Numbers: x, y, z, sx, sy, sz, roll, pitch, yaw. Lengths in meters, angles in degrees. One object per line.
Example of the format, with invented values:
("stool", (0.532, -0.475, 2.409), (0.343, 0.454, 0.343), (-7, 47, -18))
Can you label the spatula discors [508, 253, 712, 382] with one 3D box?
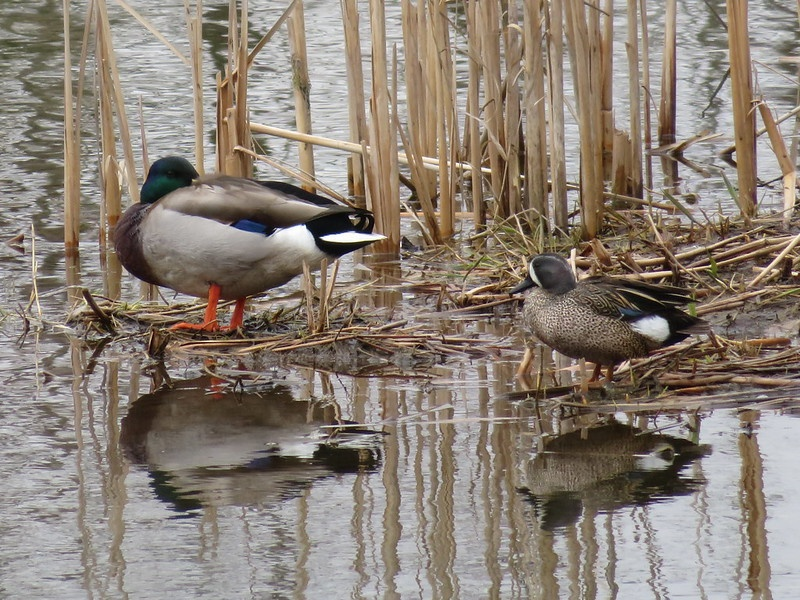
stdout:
("spatula discors", (1.005, 0.119, 5.806), (0.689, 0.757, 0.694), (-30, 58, -10))
